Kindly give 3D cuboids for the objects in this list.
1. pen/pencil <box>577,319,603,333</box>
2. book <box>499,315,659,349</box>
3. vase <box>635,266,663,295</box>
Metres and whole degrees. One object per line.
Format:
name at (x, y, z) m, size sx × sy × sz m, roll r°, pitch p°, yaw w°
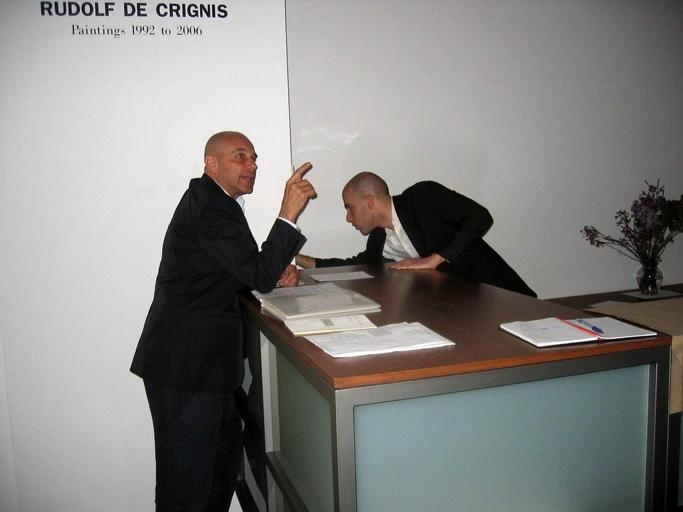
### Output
pen/pencil at (0.711, 0.197, 1.467) m, size 0.016 × 0.029 × 0.078 m, roll 9°, pitch 16°, yaw -8°
book at (0.666, 0.207, 1.470) m, size 0.394 × 0.021 × 0.201 m, roll -4°, pitch 11°, yaw -10°
vase at (1.674, 0.134, 2.795) m, size 0.133 × 0.174 × 0.138 m, roll 1°, pitch -1°, yaw 3°
